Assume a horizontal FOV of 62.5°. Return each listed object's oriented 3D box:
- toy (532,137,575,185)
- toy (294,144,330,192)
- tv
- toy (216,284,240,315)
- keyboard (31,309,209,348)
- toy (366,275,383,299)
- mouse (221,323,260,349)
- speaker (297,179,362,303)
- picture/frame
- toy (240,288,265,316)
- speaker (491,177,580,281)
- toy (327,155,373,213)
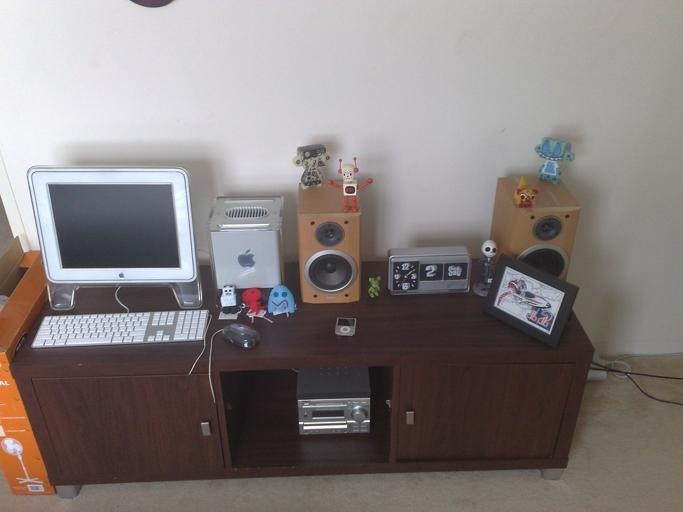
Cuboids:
[{"bbox_3d":[0.837,-0.385,2.232,0.139,0.172,0.062,24,51,28],"label":"toy"},{"bbox_3d":[-0.109,-0.347,2.184,0.165,0.181,0.080,-7,42,-10],"label":"toy"},{"bbox_3d":[-0.825,-0.064,2.036,0.601,0.597,0.053,-1,30,-2],"label":"tv"},{"bbox_3d":[-0.425,0.160,2.116,0.099,0.148,0.050,-2,20,-7],"label":"toy"},{"bbox_3d":[-0.789,0.263,2.039,0.602,0.066,0.129,-3,25,-3],"label":"keyboard"},{"bbox_3d":[0.139,0.117,2.234,0.059,0.079,0.028,34,17,23],"label":"toy"},{"bbox_3d":[-0.358,0.277,2.027,0.156,0.051,0.100,17,30,34],"label":"mouse"},{"bbox_3d":[-0.041,-0.062,2.142,0.239,0.393,0.403,-2,47,2],"label":"speaker"},{"bbox_3d":[0.684,0.175,2.039,0.268,0.230,0.021,26,12,26],"label":"picture/frame"},{"bbox_3d":[-0.319,0.171,2.127,0.102,0.131,0.087,-1,34,-1],"label":"toy"},{"bbox_3d":[0.771,-0.074,2.250,0.254,0.389,0.289,1,33,9],"label":"speaker"},{"bbox_3d":[0.027,-0.290,2.182,0.227,0.271,0.098,-2,37,1],"label":"toy"}]
